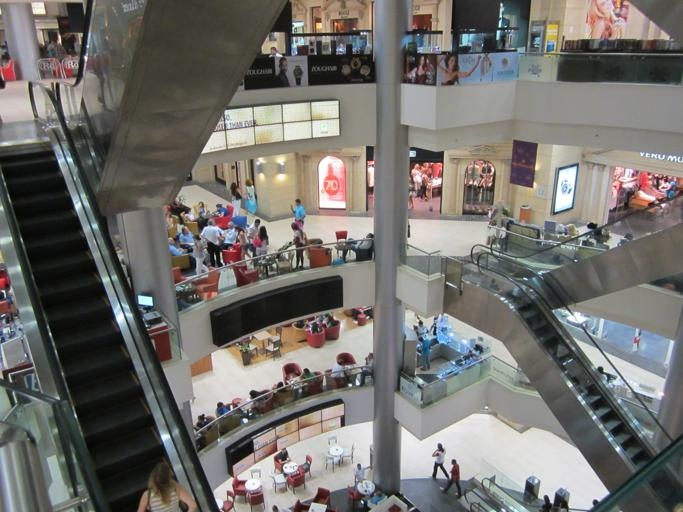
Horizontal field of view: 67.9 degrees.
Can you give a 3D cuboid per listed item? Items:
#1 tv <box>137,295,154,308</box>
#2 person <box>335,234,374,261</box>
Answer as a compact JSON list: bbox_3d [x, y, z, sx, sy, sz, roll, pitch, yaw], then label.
[{"bbox_3d":[-4.047,0.939,10.481,0.305,0.266,0.214,-7,18,-18],"label":"tv"},{"bbox_3d":[0.434,-0.229,14.820,0.861,0.896,0.720,5,11,10],"label":"person"}]
